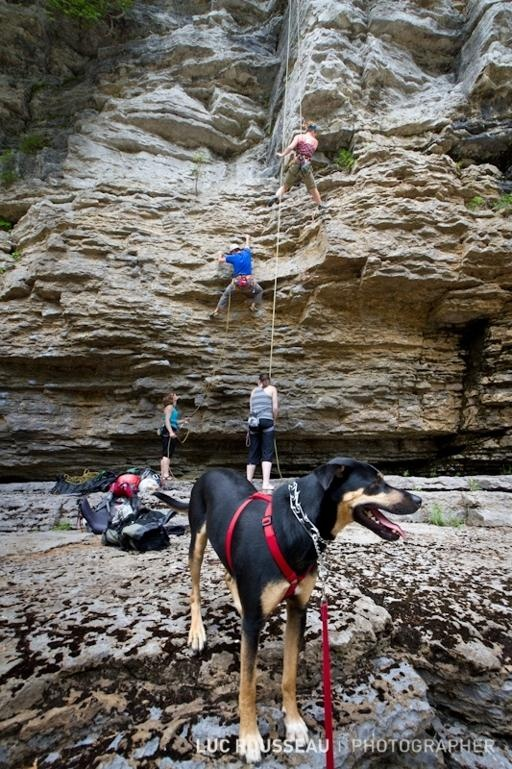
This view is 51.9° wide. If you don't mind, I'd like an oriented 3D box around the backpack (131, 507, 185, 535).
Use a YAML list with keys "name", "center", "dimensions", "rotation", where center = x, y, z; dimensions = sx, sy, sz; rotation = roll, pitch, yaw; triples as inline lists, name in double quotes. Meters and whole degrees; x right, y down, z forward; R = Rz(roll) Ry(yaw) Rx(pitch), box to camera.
- name: "backpack"
  center: [-0.870, 1.252, 4.637]
  dimensions: [0.361, 0.156, 0.303]
  rotation: [-6, 4, -10]

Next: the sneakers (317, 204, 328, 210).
- name: "sneakers"
  center: [0.976, -2.583, 7.686]
  dimensions: [0.122, 0.076, 0.121]
  rotation: [-2, 37, -50]

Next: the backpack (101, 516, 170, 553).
- name: "backpack"
  center: [-1.009, 1.218, 4.401]
  dimensions: [0.284, 0.160, 0.380]
  rotation: [5, -6, -35]

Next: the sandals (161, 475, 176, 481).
- name: "sandals"
  center: [-1.196, 1.297, 7.344]
  dimensions: [0.186, 0.049, 0.082]
  rotation: [-4, -2, 21]

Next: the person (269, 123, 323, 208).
- name: "person"
  center: [0.625, -2.921, 7.134]
  dimensions: [0.768, 1.184, 0.429]
  rotation: [14, -7, -11]

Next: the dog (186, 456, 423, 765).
- name: "dog"
  center: [0.072, 0.980, 2.702]
  dimensions: [0.700, 1.338, 1.181]
  rotation: [-1, 8, -44]

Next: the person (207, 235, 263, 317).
- name: "person"
  center: [-0.253, -1.683, 8.175]
  dimensions: [0.722, 1.322, 0.881]
  rotation: [2, 6, -27]

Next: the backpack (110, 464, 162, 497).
- name: "backpack"
  center: [-1.406, 1.162, 6.226]
  dimensions: [0.500, 0.264, 0.658]
  rotation: [1, -1, -8]
